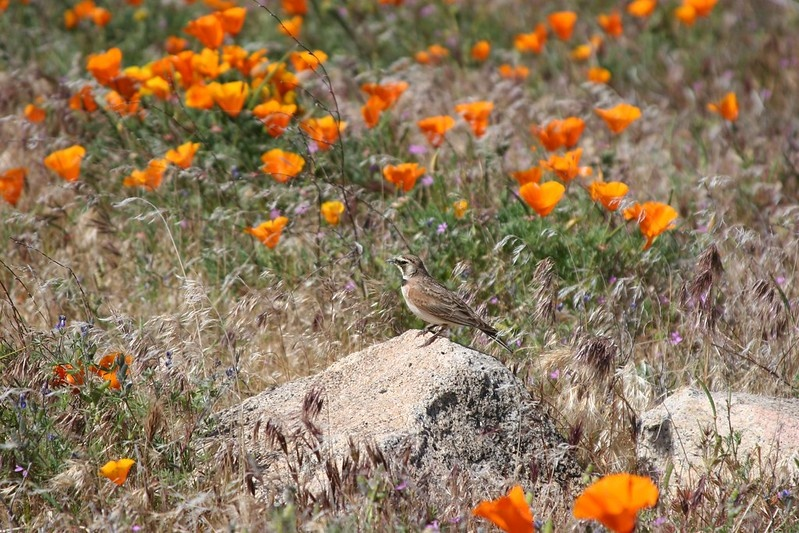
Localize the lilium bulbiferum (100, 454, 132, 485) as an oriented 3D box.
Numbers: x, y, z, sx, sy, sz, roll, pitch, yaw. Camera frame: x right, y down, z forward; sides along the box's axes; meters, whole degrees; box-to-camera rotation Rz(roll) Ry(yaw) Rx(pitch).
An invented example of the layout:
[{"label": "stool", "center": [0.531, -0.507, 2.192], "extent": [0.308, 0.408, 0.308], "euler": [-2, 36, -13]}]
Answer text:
[{"label": "lilium bulbiferum", "center": [-1.613, 1.176, 5.807], "extent": [0.166, 0.109, 0.197], "euler": [-22, -21, -24]}]

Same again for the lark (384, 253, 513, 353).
[{"label": "lark", "center": [0.253, 0.228, 7.150], "extent": [1.010, 0.781, 0.376], "euler": [13, 5, 16]}]

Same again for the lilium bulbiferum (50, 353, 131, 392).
[{"label": "lilium bulbiferum", "center": [-1.894, 0.653, 6.258], "extent": [0.483, 0.241, 0.415], "euler": [-5, -9, -20]}]
